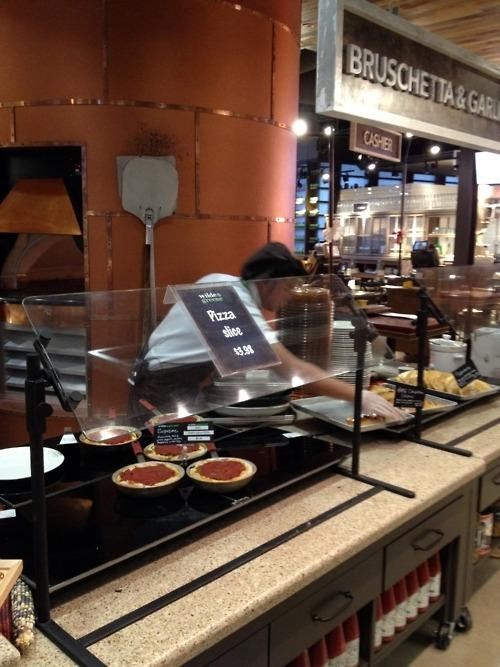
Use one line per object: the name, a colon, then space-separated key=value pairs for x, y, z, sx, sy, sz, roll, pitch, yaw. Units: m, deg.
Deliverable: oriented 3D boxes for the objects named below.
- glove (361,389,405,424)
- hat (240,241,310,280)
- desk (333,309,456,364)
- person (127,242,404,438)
glove: x=0.434 y=0.245 z=1.763 sx=0.166 sy=0.037 sz=0.094 roll=23 pitch=28 yaw=-6
hat: x=0.064 y=-0.222 z=1.701 sx=0.156 sy=0.075 sz=0.200 roll=1 pitch=9 yaw=13
desk: x=1.106 y=0.040 z=3.750 sx=0.385 sy=0.213 sz=0.493 roll=-8 pitch=8 yaw=-20
person: x=-0.014 y=0.029 z=1.520 sx=0.920 sy=0.553 sz=0.436 roll=-7 pitch=15 yaw=-39
